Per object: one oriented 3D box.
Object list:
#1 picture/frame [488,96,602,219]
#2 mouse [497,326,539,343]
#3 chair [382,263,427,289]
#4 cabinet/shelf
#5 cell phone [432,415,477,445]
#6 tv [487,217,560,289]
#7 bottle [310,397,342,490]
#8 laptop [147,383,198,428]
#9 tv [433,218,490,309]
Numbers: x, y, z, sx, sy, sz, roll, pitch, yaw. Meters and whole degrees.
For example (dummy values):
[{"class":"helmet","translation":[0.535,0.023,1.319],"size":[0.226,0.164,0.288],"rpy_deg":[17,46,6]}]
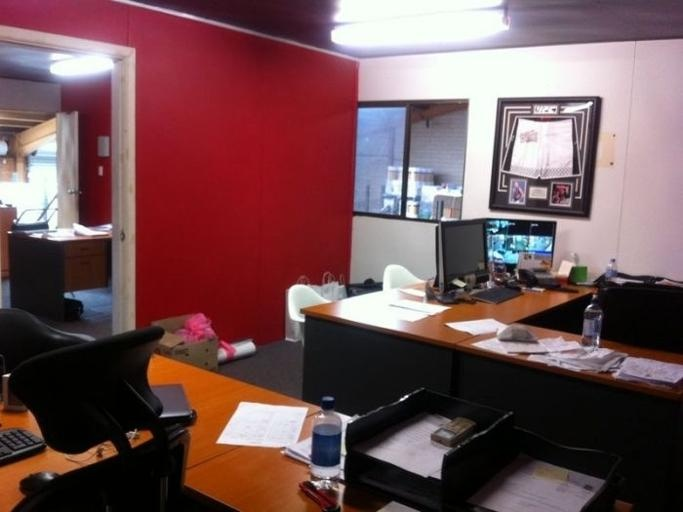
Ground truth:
[{"class":"picture/frame","translation":[1.996,-0.966,5.162],"size":[1.096,1.338,0.088],"rpy_deg":[8,12,30]},{"class":"mouse","translation":[0.990,0.442,3.042],"size":[0.123,0.042,0.130],"rpy_deg":[0,4,29]},{"class":"chair","translation":[0.569,0.196,4.887],"size":[0.272,0.358,0.257],"rpy_deg":[-5,6,-39]},{"class":"cabinet/shelf","translation":[-3.300,-0.025,6.366],"size":[0.932,0.577,0.948],"rpy_deg":[6,8,37]},{"class":"cell phone","translation":[0.402,0.624,1.931],"size":[0.069,0.035,0.131],"rpy_deg":[4,9,39]},{"class":"tv","translation":[1.621,-0.020,4.853],"size":[0.589,0.595,0.043],"rpy_deg":[3,-2,15]},{"class":"bottle","translation":[-0.054,0.636,1.880],"size":[0.102,0.280,0.148],"rpy_deg":[-1,10,-3]},{"class":"laptop","translation":[-0.685,0.617,2.224],"size":[0.225,0.062,0.258],"rpy_deg":[11,19,-25]},{"class":"tv","translation":[0.918,0.069,4.103],"size":[0.314,0.613,0.612],"rpy_deg":[2,7,43]}]
